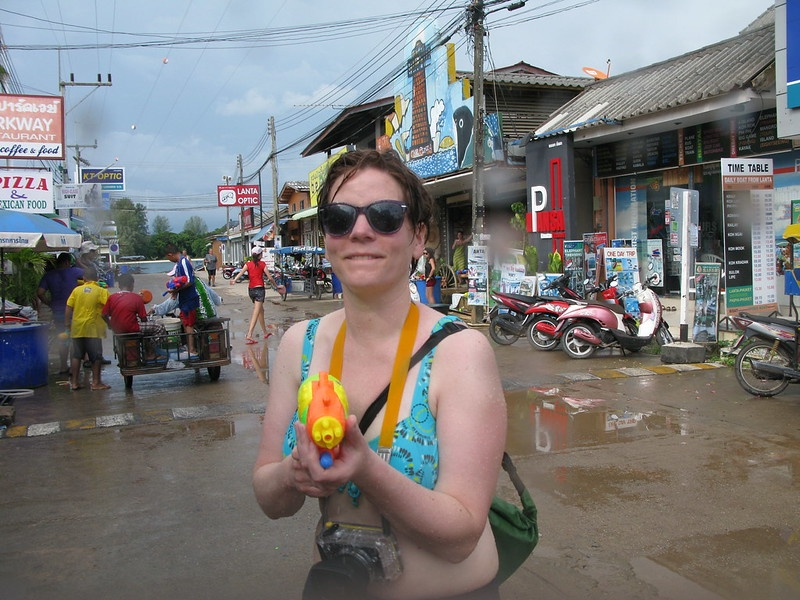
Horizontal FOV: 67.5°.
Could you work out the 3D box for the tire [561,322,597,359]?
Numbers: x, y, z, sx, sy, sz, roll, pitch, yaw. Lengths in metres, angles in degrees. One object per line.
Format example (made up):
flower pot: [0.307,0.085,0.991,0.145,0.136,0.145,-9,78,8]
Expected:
tire: [3.076,0.712,10.283,0.564,0.610,0.303,0,5,15]

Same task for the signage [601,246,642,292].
signage: [4.391,-0.533,11.949,0.699,1.064,0.663,5,-22,5]

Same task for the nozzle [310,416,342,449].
nozzle: [-0.196,0.338,1.562,0.065,0.093,0.046,-9,6,12]

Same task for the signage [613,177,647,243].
signage: [5.478,-2.186,14.300,0.259,1.462,1.117,-3,5,-14]

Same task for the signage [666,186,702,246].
signage: [4.704,-1.365,9.942,0.409,0.981,0.581,1,6,23]

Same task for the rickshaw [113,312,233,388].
rickshaw: [-3.499,0.772,9.179,1.748,1.153,0.621,-2,1,-24]

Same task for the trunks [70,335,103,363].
trunks: [-4.840,0.768,9.218,0.432,0.396,0.402,-3,6,-19]

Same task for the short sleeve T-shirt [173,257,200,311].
short sleeve T-shirt: [-3.552,-0.264,9.933,0.325,0.918,0.479,-4,6,-30]

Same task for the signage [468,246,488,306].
signage: [1.840,-0.584,14.190,0.501,1.523,0.063,0,-15,9]
